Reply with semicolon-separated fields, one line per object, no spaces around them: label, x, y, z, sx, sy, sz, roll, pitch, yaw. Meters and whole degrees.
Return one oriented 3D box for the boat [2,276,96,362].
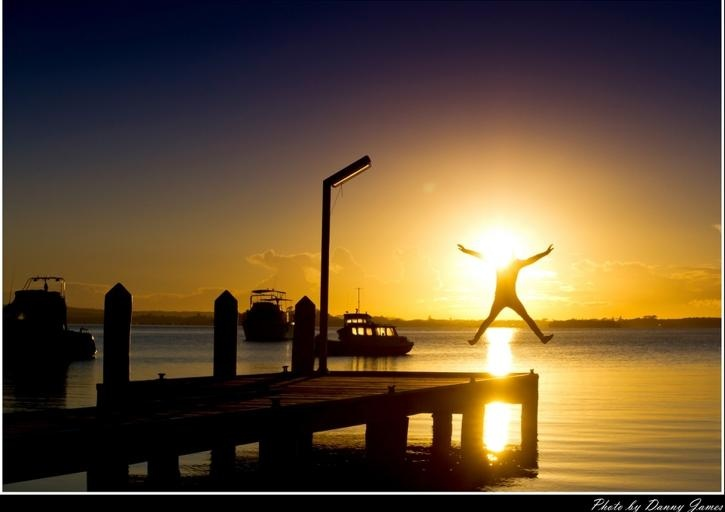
boat;-27.949;6.118;72.932;3.325;6.721;12.727;0;-6;5

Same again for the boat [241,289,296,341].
boat;-15.901;10.041;136.018;5.453;8.505;6.137;-1;-7;18

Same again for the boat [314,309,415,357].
boat;0.305;9.297;93.885;14.603;4.202;3.608;6;-3;-36
